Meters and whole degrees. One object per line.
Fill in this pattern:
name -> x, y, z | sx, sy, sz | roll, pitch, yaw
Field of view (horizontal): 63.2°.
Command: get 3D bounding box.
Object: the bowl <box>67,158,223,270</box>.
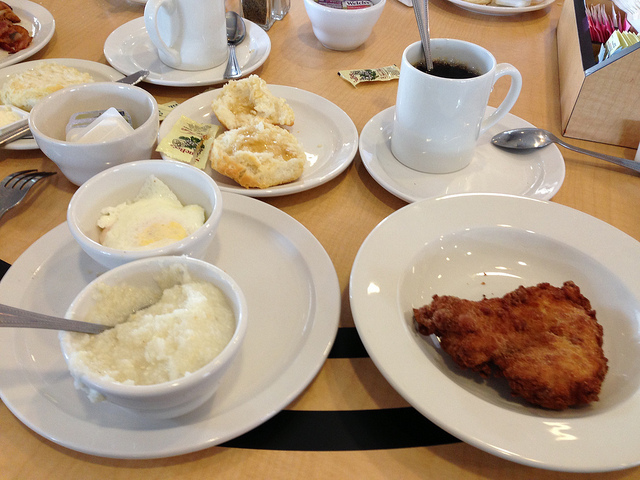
bowl -> -0.331, -0.058, 1.000 | 0.288, 0.094, 0.265 | 0, 60, 0

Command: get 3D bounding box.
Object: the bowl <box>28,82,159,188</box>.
bowl -> -0.494, -0.245, 1.166 | 0.233, 0.149, 0.261 | 1, 45, -3

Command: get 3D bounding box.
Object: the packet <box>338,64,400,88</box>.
packet -> 0.138, -0.469, 1.478 | 0.143, 0.021, 0.081 | -12, 50, -14

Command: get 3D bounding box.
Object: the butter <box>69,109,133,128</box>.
butter -> -0.491, -0.270, 1.145 | 0.087, 0.016, 0.069 | -5, 57, -7

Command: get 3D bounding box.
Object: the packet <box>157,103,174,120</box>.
packet -> -0.394, -0.326, 1.316 | 0.042, 0.011, 0.042 | 25, 42, 17

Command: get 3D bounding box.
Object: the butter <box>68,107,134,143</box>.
butter -> -0.459, -0.223, 1.086 | 0.083, 0.024, 0.117 | 36, 66, 19

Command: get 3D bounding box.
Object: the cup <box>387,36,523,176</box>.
cup -> 0.320, -0.302, 1.209 | 0.285, 0.233, 0.203 | -5, 41, -11

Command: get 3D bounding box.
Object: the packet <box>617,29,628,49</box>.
packet -> 0.746, -0.500, 1.289 | 0.008, 0.036, 0.038 | -18, 36, 29

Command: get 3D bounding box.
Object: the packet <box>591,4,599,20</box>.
packet -> 0.800, -0.660, 1.516 | 0.013, 0.014, 0.079 | -10, 41, 17

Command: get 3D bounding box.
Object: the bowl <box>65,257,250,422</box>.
bowl -> -0.263, 0.157, 0.856 | 0.283, 0.113, 0.250 | 12, 60, 6

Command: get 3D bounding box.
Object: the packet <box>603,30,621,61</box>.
packet -> 0.736, -0.489, 1.314 | 0.019, 0.057, 0.085 | 15, 60, 10
